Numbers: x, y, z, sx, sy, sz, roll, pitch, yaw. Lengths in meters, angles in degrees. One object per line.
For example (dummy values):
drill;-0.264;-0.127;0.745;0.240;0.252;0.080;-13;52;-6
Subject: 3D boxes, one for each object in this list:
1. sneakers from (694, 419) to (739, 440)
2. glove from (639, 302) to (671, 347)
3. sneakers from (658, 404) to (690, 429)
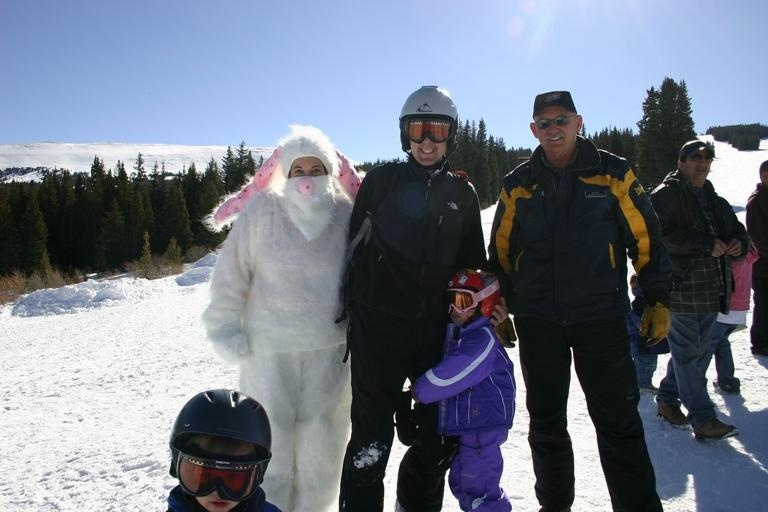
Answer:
sneakers;4.395;2.324;8.714;0.505;0.275;0.267;-11;-6;9
glove;3.296;0.770;7.900;0.360;0.446;0.517;7;19;37
sneakers;4.035;2.230;9.136;0.171;0.213;0.487;-24;24;-15
